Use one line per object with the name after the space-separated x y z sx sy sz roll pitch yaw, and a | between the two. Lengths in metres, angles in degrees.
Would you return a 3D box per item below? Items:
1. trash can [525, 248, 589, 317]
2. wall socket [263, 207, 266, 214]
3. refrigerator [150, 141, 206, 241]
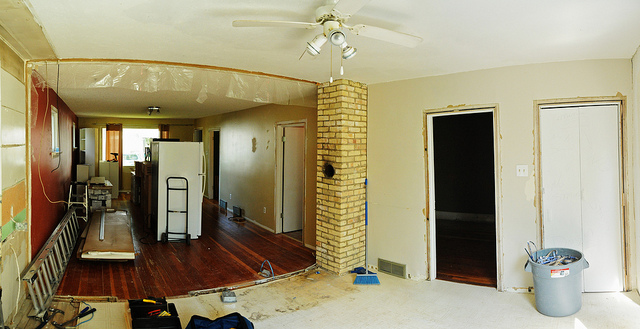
4.025 1.977 6.855 0.703 1.038 0.957 -8 -4 37 | trash can
-1.418 1.171 10.223 0.059 0.147 0.007 2 3 43 | wall socket
-3.495 0.576 9.389 1.405 2.285 0.759 1 3 29 | refrigerator
